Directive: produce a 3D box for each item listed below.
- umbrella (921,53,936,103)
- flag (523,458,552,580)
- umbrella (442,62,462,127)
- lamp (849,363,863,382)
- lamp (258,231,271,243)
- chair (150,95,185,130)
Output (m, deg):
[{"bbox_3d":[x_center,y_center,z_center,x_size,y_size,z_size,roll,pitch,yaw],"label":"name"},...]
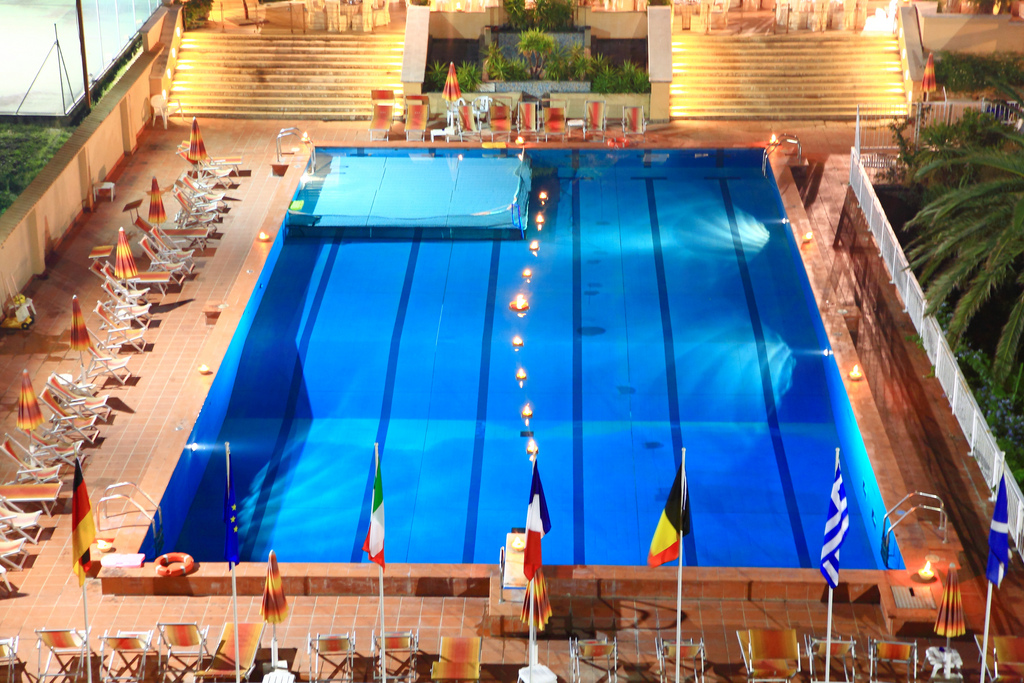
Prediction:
[{"bbox_3d":[12.806,-8.099,24.637,0.448,1.219,1.432,7,24,26],"label":"umbrella"},{"bbox_3d":[0.290,2.267,10.058,0.322,1.661,0.717,-2,20,3],"label":"flag"},{"bbox_3d":[-1.775,-7.365,24.112,0.558,1.638,2.115,-4,22,-3],"label":"umbrella"},{"bbox_3d":[6.562,0.576,15.402,0.247,0.263,0.262,-6,16,-7],"label":"lamp"},{"bbox_3d":[-5.872,-2.489,19.192,0.347,0.164,0.270,13,28,34],"label":"lamp"},{"bbox_3d":[-10.671,-7.043,24.931,0.643,0.935,0.728,20,40,17],"label":"chair"}]
